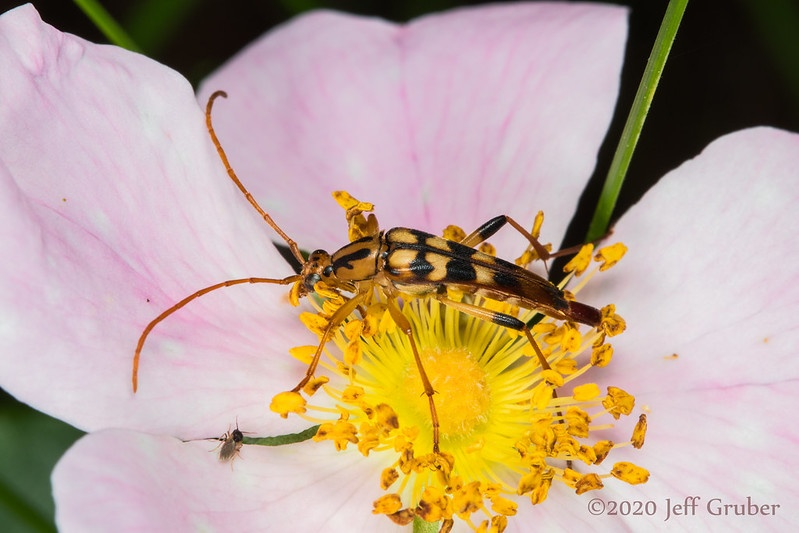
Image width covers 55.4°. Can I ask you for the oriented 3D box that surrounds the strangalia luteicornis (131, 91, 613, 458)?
[{"bbox_3d":[-0.048,0.042,1.644,0.979,0.224,0.849,12,52,1],"label":"strangalia luteicornis"}]

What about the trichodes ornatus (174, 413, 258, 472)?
[{"bbox_3d":[-0.354,0.357,1.499,0.103,0.105,0.091,-31,69,-5],"label":"trichodes ornatus"}]
